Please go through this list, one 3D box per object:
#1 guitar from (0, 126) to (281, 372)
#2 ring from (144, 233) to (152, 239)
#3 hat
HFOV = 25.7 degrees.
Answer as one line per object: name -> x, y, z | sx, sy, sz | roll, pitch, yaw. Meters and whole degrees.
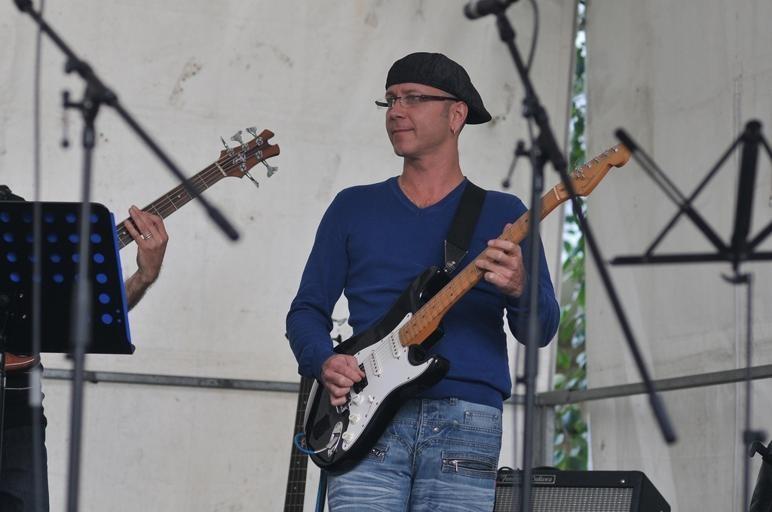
guitar -> -1.314, 0.003, 8.233 | 1.894, 0.687, 0.233 | -38, -17, 13
ring -> -1.077, -0.084, 7.716 | 0.026, 0.028, 0.006 | -2, 9, 10
hat -> 0.240, -0.756, 7.472 | 0.395, 0.187, 0.280 | 22, -7, -30
